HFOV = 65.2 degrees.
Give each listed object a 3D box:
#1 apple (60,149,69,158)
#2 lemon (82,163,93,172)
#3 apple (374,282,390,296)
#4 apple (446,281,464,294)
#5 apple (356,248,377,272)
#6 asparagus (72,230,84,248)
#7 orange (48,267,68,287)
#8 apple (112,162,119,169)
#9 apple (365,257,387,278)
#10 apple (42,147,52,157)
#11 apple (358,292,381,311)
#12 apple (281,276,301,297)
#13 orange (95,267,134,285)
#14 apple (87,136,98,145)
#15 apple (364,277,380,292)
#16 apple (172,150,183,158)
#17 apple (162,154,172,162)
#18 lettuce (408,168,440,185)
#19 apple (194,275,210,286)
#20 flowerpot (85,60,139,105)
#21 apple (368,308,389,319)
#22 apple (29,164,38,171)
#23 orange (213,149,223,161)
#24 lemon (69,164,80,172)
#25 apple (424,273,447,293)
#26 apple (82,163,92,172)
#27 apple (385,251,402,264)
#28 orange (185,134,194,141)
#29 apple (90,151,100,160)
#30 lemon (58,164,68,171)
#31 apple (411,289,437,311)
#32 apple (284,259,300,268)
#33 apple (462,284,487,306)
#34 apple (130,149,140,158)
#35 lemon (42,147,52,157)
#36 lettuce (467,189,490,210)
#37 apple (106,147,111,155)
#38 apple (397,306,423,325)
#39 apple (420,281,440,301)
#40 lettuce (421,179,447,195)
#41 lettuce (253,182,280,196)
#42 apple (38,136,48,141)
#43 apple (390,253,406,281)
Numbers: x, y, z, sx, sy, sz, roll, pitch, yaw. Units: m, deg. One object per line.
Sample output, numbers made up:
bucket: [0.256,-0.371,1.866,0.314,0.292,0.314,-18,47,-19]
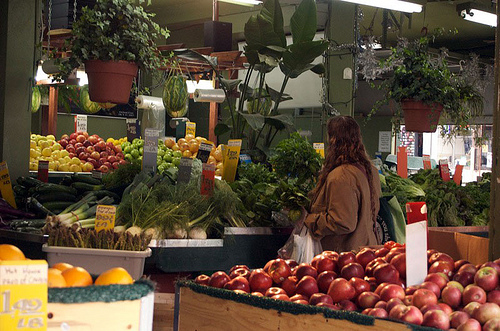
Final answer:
apple: [-2.376,-0.151,5.000,0.080,0.090,0.100,-2,2,31]
lemon: [-2.054,0.023,4.918,0.095,0.103,0.097,-1,9,-21]
apple: [0.588,0.546,1.758,0.047,0.061,0.050,18,-6,5]
apple: [0.901,0.527,1.708,0.037,0.040,0.039,12,4,15]
apple: [0.595,0.486,2.019,0.084,0.086,0.087,-8,-3,-7]
asparagus: [-1.181,0.505,2.674,0.037,0.151,0.036,-6,-7,-46]
orange: [-0.607,0.349,1.236,0.054,0.063,0.180,0,1,-25]
apple: [-1.691,-0.002,4.900,0.068,0.091,0.071,7,12,44]
apple: [0.621,0.497,1.947,0.084,0.094,0.087,14,-12,3]
apple: [-2.547,-0.170,4.890,0.095,0.107,0.121,1,19,-7]
apple: [0.516,0.587,1.703,0.069,0.076,0.073,11,21,-8]
apple: [0.195,0.577,1.877,0.068,0.096,0.074,2,4,9]
orange: [-0.438,0.357,1.258,0.072,0.080,0.074,-5,3,2]
apple: [-2.187,-0.355,5.425,0.103,0.119,0.105,2,9,6]
apple: [0.584,0.559,1.857,0.048,0.052,0.051,-1,-19,7]
apple: [-0.873,-0.167,4.691,0.102,0.110,0.105,-17,21,-32]
apple: [-0.983,-0.094,4.584,0.104,0.085,0.089,1,0,35]
lettuce: [2.410,0.144,5.540,0.277,0.109,0.269,-20,6,-24]
apple: [-0.240,0.563,1.944,0.038,0.040,0.041,7,13,10]
flowerpot: [-1.288,-0.776,3.609,0.479,0.407,0.508,3,1,3]
apple: [0.518,0.595,1.576,0.043,0.047,0.045,-1,-8,-8]
apple: [-2.517,0.018,4.536,0.076,0.082,0.140,0,1,-26]
orange: [-0.382,-0.123,4.595,0.085,0.118,0.062,-3,-13,-11]
lemon: [-2.173,0.031,4.818,0.081,0.087,0.080,17,1,-39]
apple: [0.822,0.512,1.737,0.066,0.070,0.068,-6,19,-21]
apple: [-2.053,0.018,4.917,0.083,0.093,0.091,-3,29,-14]
apple: [0.730,0.457,1.988,0.049,0.065,0.053,2,20,3]
orange: [-0.795,-0.378,5.132,0.073,0.095,0.077,12,-23,39]
apple: [-2.035,-0.129,5.121,0.086,0.097,0.088,-14,19,-42]
lemon: [-2.285,0.026,4.775,0.071,0.078,0.076,0,-7,28]
apple: [0.718,0.549,1.623,0.063,0.073,0.068,1,5,15]
apple: [0.223,0.533,2.162,0.058,0.041,0.060,5,4,43]
apple: [0.942,0.542,1.641,0.078,0.088,0.085,3,-3,-20]
apple: [-1.470,-0.151,4.988,0.084,0.092,0.092,15,3,41]
lemon: [-2.543,-0.169,4.890,0.105,0.101,0.096,-7,20,-15]
lettuce: [3.158,0.440,5.420,0.289,0.204,0.306,3,4,-26]
apple: [-1.926,-0.202,5.311,0.060,0.108,0.076,1,0,-18]
apple: [0.625,0.584,1.530,0.065,0.071,0.067,-21,-12,29]
apple: [0.776,0.532,1.684,0.063,0.070,0.069,3,13,15]
lettuce: [2.394,0.267,5.104,0.200,0.103,0.218,-11,16,24]
lettuce: [0.167,0.207,3.592,0.155,0.086,0.275,0,1,-37]
apple: [-2.700,-0.357,5.104,0.061,0.050,0.085,-2,-3,24]
apple: [0.720,0.495,1.882,0.086,0.113,0.094,4,-8,3]
